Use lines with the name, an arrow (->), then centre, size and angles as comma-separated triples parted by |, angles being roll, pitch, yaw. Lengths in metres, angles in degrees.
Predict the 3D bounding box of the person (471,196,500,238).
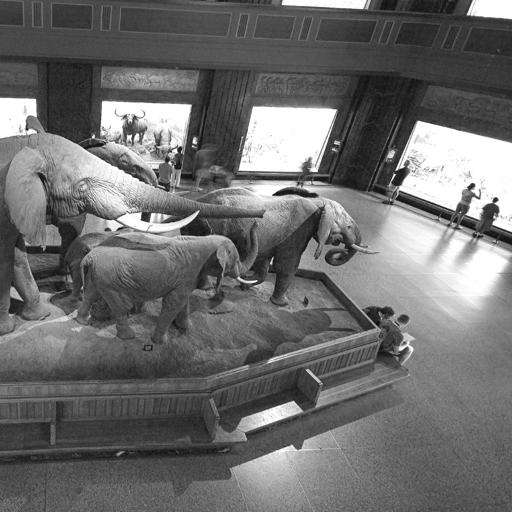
person -> 6.932, -1.121, 11.712 | 0.446, 1.259, 0.575 | 30, 27, 28

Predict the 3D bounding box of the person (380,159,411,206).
person -> 4.719, -2.445, 13.104 | 0.494, 1.430, 0.876 | 23, 24, 14
